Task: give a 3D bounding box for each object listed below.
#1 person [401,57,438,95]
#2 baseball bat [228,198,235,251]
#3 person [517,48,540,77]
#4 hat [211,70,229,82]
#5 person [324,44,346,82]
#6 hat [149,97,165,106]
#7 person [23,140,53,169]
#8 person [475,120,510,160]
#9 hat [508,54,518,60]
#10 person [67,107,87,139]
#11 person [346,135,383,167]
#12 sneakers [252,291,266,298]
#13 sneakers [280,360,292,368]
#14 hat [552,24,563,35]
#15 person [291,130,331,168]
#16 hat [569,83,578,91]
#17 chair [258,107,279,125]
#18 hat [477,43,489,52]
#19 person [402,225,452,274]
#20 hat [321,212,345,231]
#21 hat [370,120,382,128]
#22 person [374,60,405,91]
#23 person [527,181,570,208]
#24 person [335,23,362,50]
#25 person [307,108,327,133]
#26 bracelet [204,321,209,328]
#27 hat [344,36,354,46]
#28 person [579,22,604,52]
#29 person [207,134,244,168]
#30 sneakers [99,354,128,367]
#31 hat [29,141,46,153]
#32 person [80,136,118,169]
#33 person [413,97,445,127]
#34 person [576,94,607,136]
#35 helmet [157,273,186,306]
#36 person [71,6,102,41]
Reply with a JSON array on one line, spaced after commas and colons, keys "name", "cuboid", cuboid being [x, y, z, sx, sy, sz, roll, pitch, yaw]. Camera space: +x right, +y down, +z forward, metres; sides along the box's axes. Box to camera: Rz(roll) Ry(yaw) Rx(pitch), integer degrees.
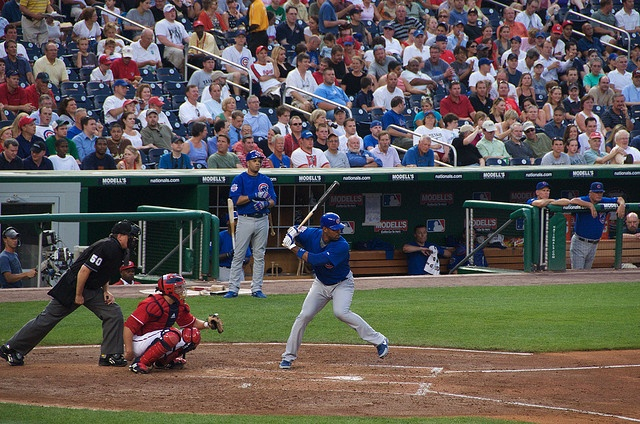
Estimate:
[{"name": "person", "cuboid": [2.656, -3.624, 31.952, 0.653, 1.077, 1.013, -7, 8, 36]}, {"name": "baseball bat", "cuboid": [-1.917, 0.177, 26.134, 0.155, 1.452, 0.072, -9, 27, -28]}, {"name": "person", "cuboid": [5.741, -4.117, 32.951, 0.400, 0.286, 1.006, 15, -35, -13]}, {"name": "hat", "cuboid": [-2.501, -3.371, 29.421, 0.332, 0.167, 0.225, -4, 17, -12]}, {"name": "person", "cuboid": [0.440, -3.924, 31.435, 0.673, 0.967, 0.573, -3, 15, -27]}, {"name": "hat", "cuboid": [-3.848, -2.608, 28.001, 0.298, 0.150, 0.205, 4, 11, -2]}, {"name": "person", "cuboid": [-6.153, -1.238, 25.927, 0.687, 1.029, 0.443, 1, 2, -7]}, {"name": "person", "cuboid": [4.003, -1.818, 29.727, 0.881, 0.978, 0.953, -10, 12, -29]}, {"name": "hat", "cuboid": [5.266, -4.283, 32.736, 0.240, 0.229, 0.311, 2, -5, 7]}, {"name": "person", "cuboid": [-5.509, -2.016, 27.098, 0.409, 0.695, 0.745, 4, 5, 8]}, {"name": "person", "cuboid": [0.951, -1.450, 28.737, 0.877, 0.861, 0.657, 4, 9, 33]}, {"name": "sneakers", "cuboid": [-1.267, 1.726, 24.933, 0.292, 0.126, 0.127, -1, -2, 20]}, {"name": "sneakers", "cuboid": [-0.596, 2.705, 21.130, 0.249, 0.160, 0.197, 4, -5, -15]}, {"name": "hat", "cuboid": [6.914, -5.376, 34.923, 0.282, 0.212, 0.373, 7, 13, 1]}, {"name": "person", "cuboid": [-0.306, -1.414, 28.133, 0.673, 0.725, 0.922, -3, 4, -31]}, {"name": "hat", "cuboid": [6.873, -3.421, 32.482, 0.284, 0.148, 0.455, 0, 1, 7]}, {"name": "chair", "cuboid": [-1.203, -2.368, 29.524, 0.413, 0.527, 0.453, 6, 8, 35]}, {"name": "hat", "cuboid": [4.468, -4.588, 33.031, 0.193, 0.125, 0.259, -4, 6, -35]}, {"name": "person", "cuboid": [2.597, 0.967, 29.683, 1.122, 1.514, 0.807, 1, -12, -23]}, {"name": "hat", "cuboid": [0.213, 0.165, 21.206, 0.367, 0.205, 0.267, 3, 7, 9]}, {"name": "hat", "cuboid": [1.364, -2.178, 29.217, 0.218, 0.128, 0.213, 2, 4, 6]}, {"name": "person", "cuboid": [1.865, -3.680, 31.236, 0.590, 0.928, 1.076, 6, 11, 22]}, {"name": "person", "cuboid": [5.165, -0.394, 27.632, 0.623, 0.443, 0.845, -2, 2, -33]}, {"name": "person", "cuboid": [0.727, -4.857, 32.635, 0.465, 0.389, 0.757, -5, 7, -33]}, {"name": "person", "cuboid": [-0.020, -2.225, 28.688, 0.534, 0.704, 0.480, -2, 14, 6]}, {"name": "bracelet", "cuboid": [-1.988, 1.983, 21.044, 0.090, 0.101, 0.107, 7, 47, 12]}, {"name": "hat", "cuboid": [0.742, -4.611, 31.916, 0.247, 0.286, 0.332, 3, -5, -1]}, {"name": "person", "cuboid": [8.038, -5.195, 35.727, 0.525, 1.099, 1.079, 0, -5, 29]}, {"name": "person", "cuboid": [-2.204, -1.279, 27.206, 1.062, 1.127, 0.662, -1, 1, -4]}, {"name": "sneakers", "cuboid": [-3.584, 2.624, 20.987, 0.551, 0.227, 0.188, -1, -1, 5]}, {"name": "hat", "cuboid": [-6.053, -1.402, 25.678, 0.208, 0.159, 0.282, 22, 1, 6]}, {"name": "person", "cuboid": [-4.952, -1.356, 26.690, 0.804, 1.012, 0.656, 2, -1, -28]}, {"name": "person", "cuboid": [2.700, -2.522, 30.005, 0.668, 0.804, 0.745, -1, 6, 1]}, {"name": "person", "cuboid": [6.974, -2.501, 30.874, 0.767, 1.044, 0.816, 2, -5, 7]}, {"name": "helmet", "cuboid": [-2.562, 1.327, 20.932, 0.519, 0.499, 0.426, 1, 4, -1]}, {"name": "person", "cuboid": [-6.031, -4.875, 30.844, 0.616, 0.991, 1.023, 19, 18, 35]}]
